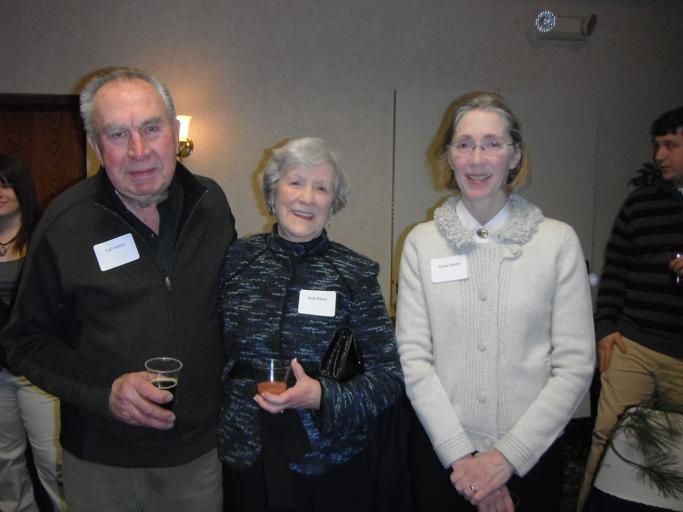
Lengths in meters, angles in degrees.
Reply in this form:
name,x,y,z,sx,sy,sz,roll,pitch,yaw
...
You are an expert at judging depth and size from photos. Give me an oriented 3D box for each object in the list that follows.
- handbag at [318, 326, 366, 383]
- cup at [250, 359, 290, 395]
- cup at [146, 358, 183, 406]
name,x,y,z,sx,sy,sz,roll,pitch,yaw
handbag,-0.010,0.483,2.625,0.096,0.210,0.212,8,-9,37
cup,-0.322,0.544,2.472,0.154,0.121,0.159,0,-9,0
cup,-0.826,0.560,2.500,0.153,0.148,0.127,2,15,0
